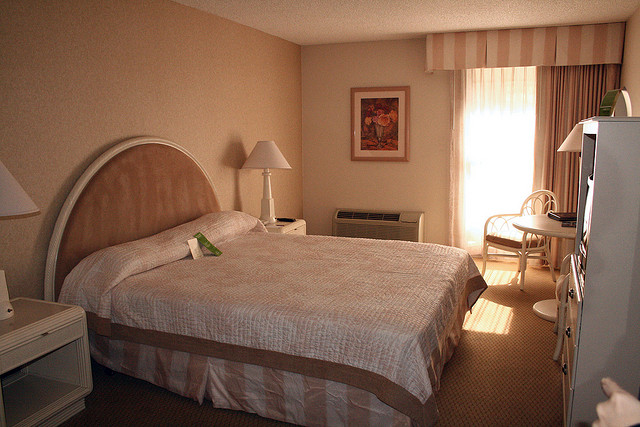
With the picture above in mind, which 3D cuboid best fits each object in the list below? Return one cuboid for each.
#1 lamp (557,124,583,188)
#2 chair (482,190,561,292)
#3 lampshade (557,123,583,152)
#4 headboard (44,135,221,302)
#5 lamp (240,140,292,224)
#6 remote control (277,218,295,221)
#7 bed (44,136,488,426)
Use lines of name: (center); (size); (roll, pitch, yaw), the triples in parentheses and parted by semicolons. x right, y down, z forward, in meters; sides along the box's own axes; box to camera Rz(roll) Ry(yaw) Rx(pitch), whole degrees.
lamp: (2.553, -0.762, 4.503); (0.194, 0.301, 0.455); (5, 13, 27)
chair: (2.517, 0.246, 5.519); (0.664, 1.154, 0.707); (-2, 7, -24)
lampshade: (2.569, -0.812, 4.625); (0.228, 0.372, 0.193); (-12, 21, -36)
headboard: (-1.703, -0.164, 4.324); (0.113, 1.284, 1.662); (38, 41, 27)
lamp: (-0.684, -0.398, 5.611); (0.592, 0.952, 0.615); (-4, -5, 34)
remote control: (-0.464, 0.085, 5.892); (0.161, 0.037, 0.034); (3, -26, 7)
bed: (-0.400, 0.589, 3.877); (3.292, 1.746, 2.308); (4, 16, 22)
